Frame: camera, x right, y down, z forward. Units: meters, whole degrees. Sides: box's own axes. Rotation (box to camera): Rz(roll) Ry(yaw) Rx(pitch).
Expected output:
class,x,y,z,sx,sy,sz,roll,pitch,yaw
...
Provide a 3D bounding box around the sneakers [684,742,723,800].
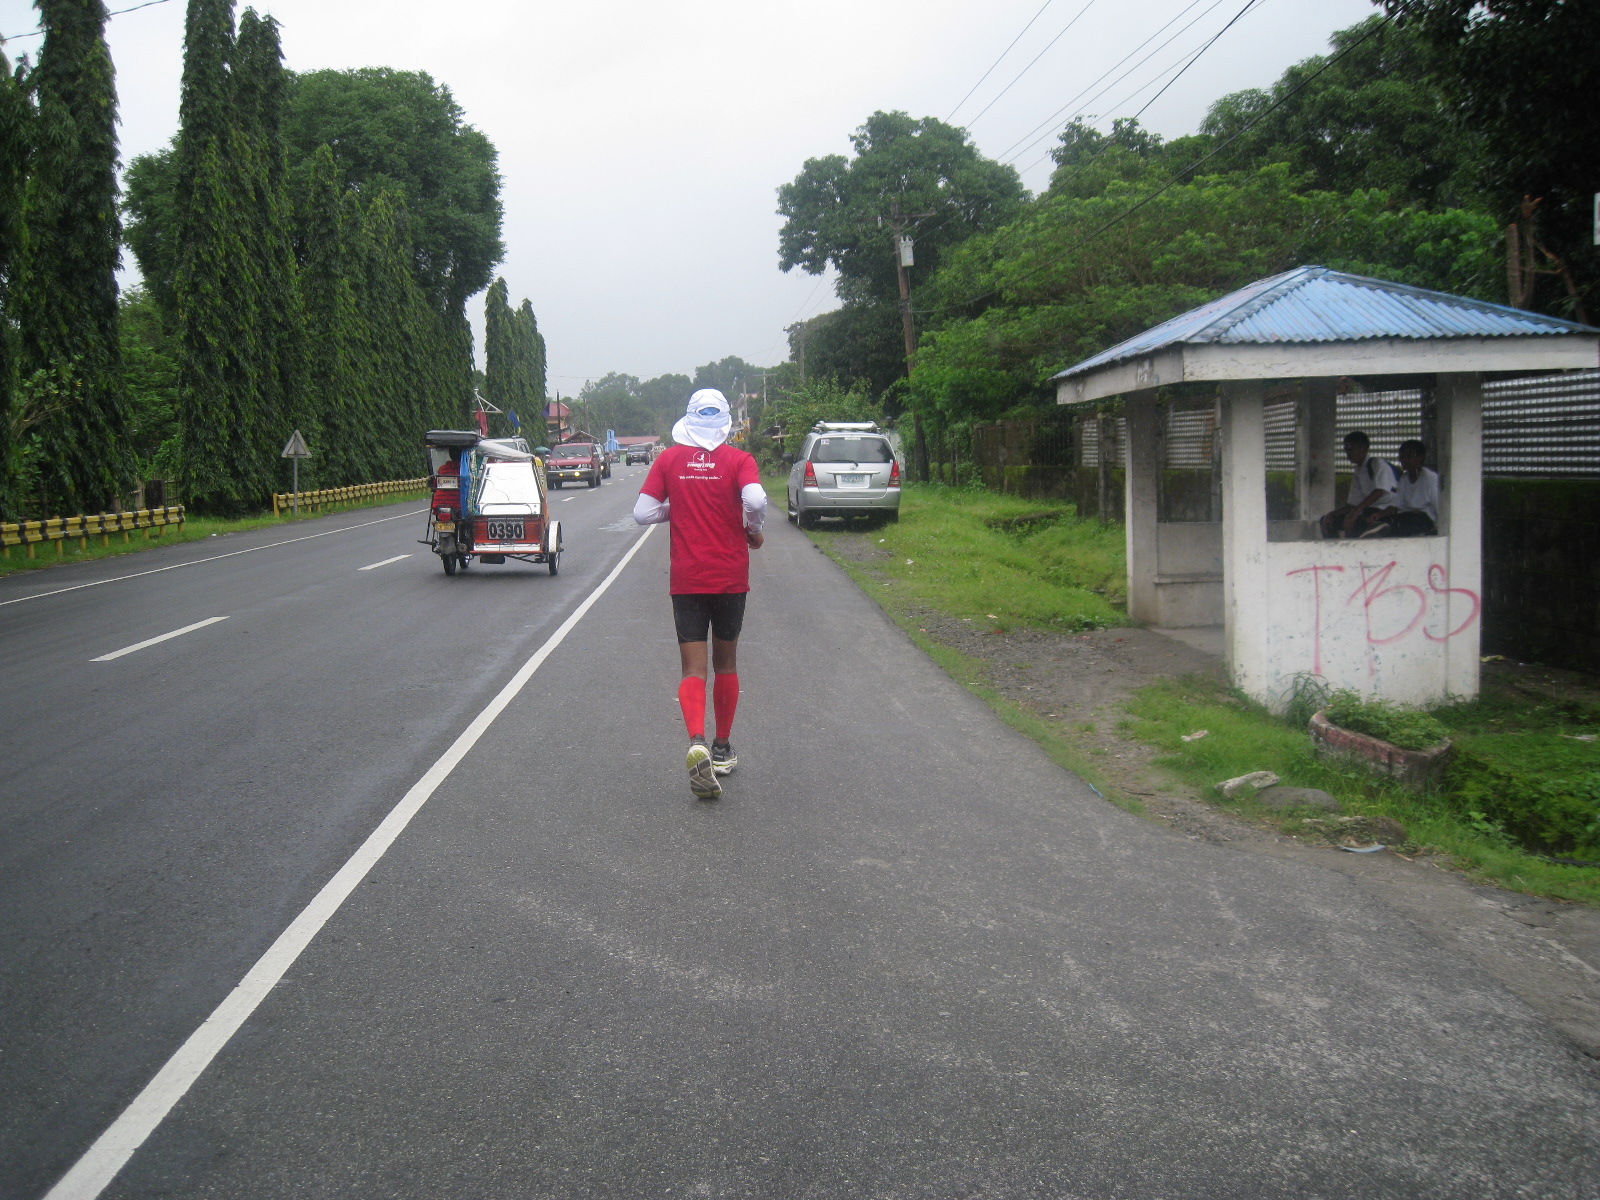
class,x,y,z,sx,sy,sz,roll,pitch,yaw
sneakers,-0.595,1.060,8.243,0.186,0.366,0.264,0,7,-1

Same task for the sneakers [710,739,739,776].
class,x,y,z,sx,sy,sz,roll,pitch,yaw
sneakers,-0.506,1.057,8.899,0.099,0.130,0.262,1,12,3

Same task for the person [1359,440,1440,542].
class,x,y,z,sx,sy,sz,roll,pitch,yaw
person,5.145,-0.906,11.322,0.601,1.068,0.729,3,4,13
